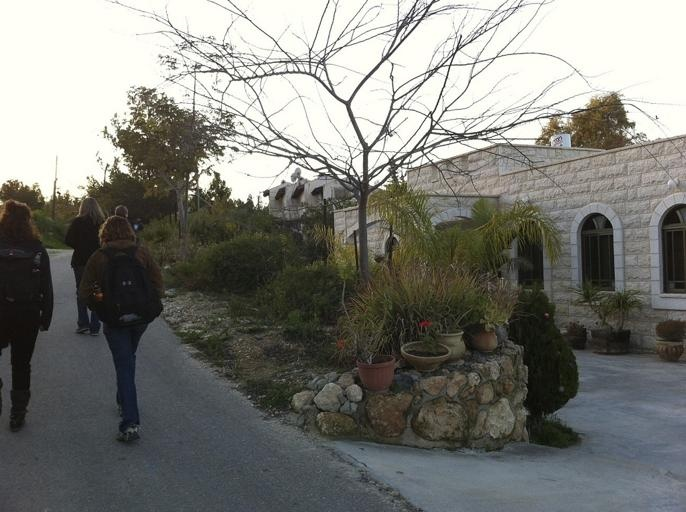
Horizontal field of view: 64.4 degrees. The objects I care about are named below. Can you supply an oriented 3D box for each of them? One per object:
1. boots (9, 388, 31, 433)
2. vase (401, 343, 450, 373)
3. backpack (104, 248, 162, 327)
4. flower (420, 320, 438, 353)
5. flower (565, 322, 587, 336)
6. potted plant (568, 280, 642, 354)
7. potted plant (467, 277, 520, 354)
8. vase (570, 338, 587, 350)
[{"bbox_3d":[-3.636,1.713,6.120,0.175,0.461,0.196,1,6,-35],"label":"boots"},{"bbox_3d":[1.123,1.383,7.461,0.669,0.367,0.479,7,5,11],"label":"vase"},{"bbox_3d":[-2.436,0.342,6.195,0.667,0.957,0.475,-7,-4,-43],"label":"backpack"},{"bbox_3d":[1.160,1.097,7.539,0.274,0.386,0.288,-10,-4,26],"label":"flower"},{"bbox_3d":[6.450,2.021,15.137,0.381,0.260,0.400,1,-3,-13],"label":"flower"},{"bbox_3d":[6.973,1.662,14.396,1.606,1.879,1.048,-1,3,45],"label":"potted plant"},{"bbox_3d":[2.178,0.907,8.186,0.907,1.139,0.654,3,4,-42],"label":"potted plant"},{"bbox_3d":[6.496,2.416,15.086,0.313,0.264,0.336,0,-6,-1],"label":"vase"}]
